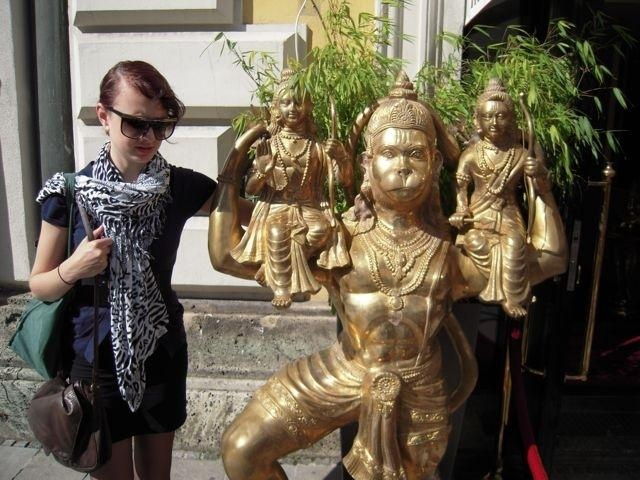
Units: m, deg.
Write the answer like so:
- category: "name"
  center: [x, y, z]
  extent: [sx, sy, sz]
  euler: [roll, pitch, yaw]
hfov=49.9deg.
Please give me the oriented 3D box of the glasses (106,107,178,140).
- category: "glasses"
  center: [-0.734, -0.477, 2.851]
  extent: [0.274, 0.126, 0.097]
  euler: [-3, 11, -24]

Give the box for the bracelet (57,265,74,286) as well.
- category: "bracelet"
  center: [-1.056, 0.144, 2.863]
  extent: [0.018, 0.079, 0.078]
  euler: [-22, 68, -44]

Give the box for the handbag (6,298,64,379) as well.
- category: "handbag"
  center: [-1.216, 0.417, 2.954]
  extent: [0.245, 0.357, 0.126]
  euler: [6, 10, 26]

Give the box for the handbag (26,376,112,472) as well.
- category: "handbag"
  center: [-1.048, 0.786, 2.897]
  extent: [0.368, 0.384, 0.136]
  euler: [6, 10, 22]
